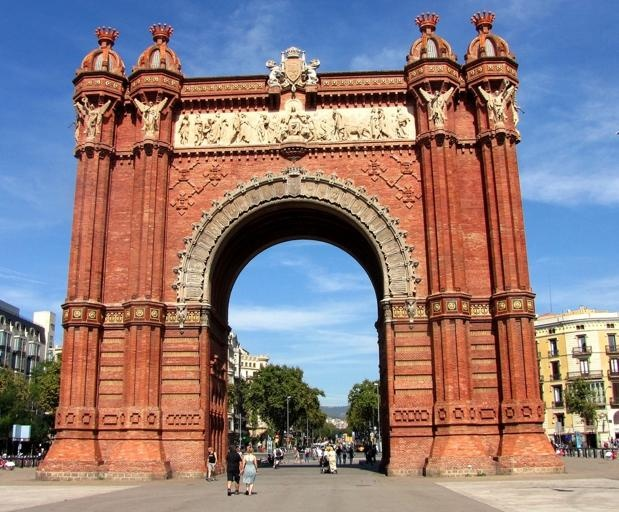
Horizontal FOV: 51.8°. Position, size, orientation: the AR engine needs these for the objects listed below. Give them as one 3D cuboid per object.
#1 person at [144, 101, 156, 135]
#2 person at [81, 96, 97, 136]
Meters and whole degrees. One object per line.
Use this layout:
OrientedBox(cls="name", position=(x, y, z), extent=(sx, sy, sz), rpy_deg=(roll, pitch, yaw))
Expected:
OrientedBox(cls="person", position=(-8.231, -7.076, 33.205), extent=(0.619, 1.405, 0.366), rpy_deg=(1, -15, -14))
OrientedBox(cls="person", position=(-11.392, -7.279, 33.309), extent=(0.678, 2.136, 0.345), rpy_deg=(0, -15, -10))
